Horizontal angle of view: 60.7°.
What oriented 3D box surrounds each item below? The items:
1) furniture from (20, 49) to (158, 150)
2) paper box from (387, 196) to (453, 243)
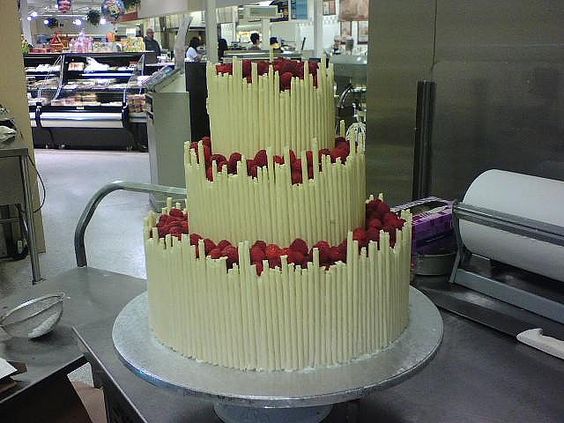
[{"bbox_3d":[-3.372,-1.925,8.568,2.467,1.749,1.347,0,7,1],"label":"furniture"},{"bbox_3d":[0.717,-0.010,2.329,0.289,0.100,0.217,-19,18,-22],"label":"paper box"}]
